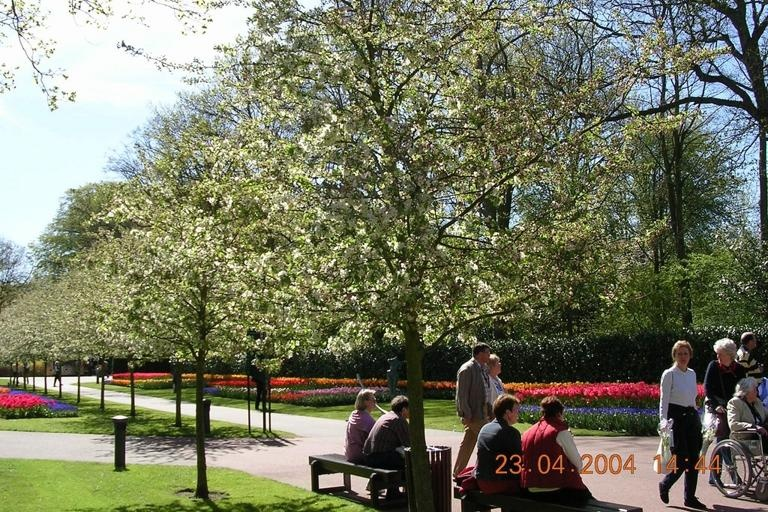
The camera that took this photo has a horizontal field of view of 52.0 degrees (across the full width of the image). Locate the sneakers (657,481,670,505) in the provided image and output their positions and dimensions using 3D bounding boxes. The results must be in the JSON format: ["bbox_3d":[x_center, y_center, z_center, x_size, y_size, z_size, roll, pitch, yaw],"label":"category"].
[{"bbox_3d":[4.930,4.169,13.888,0.168,0.455,0.193,-5,5,-17],"label":"sneakers"}]

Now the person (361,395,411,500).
[{"bbox_3d":[0.054,3.238,14.368,0.905,1.327,0.585,-2,-11,10],"label":"person"}]

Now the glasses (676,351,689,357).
[{"bbox_3d":[5.226,1.735,13.866,0.236,0.079,0.081,-4,-12,19],"label":"glasses"}]
